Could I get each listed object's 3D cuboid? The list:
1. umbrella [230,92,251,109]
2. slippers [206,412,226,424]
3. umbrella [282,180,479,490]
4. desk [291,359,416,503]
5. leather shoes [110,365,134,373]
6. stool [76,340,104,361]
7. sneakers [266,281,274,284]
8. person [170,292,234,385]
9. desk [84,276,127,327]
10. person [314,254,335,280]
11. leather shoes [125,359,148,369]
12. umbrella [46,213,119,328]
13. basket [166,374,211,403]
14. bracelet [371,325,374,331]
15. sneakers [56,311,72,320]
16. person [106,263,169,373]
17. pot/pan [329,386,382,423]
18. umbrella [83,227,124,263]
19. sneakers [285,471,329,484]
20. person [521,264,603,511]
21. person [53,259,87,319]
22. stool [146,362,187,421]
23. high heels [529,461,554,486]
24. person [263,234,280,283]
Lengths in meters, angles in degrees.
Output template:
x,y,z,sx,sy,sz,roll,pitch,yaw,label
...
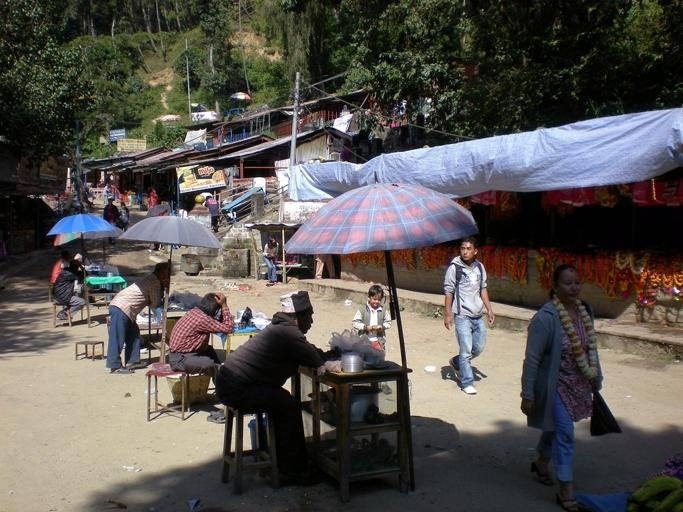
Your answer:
x,y,z,sx,sy,sz,roll,pitch,yaw,label
-7.681,-12.235,57.129,1.462,1.268,1.490,-1,6,-7,umbrella
-1.670,2.177,10.077,0.177,0.087,0.238,3,-1,7,slippers
0.566,0.313,8.989,2.188,2.370,2.137,-10,12,-30,umbrella
0.018,1.972,9.014,0.938,1.358,2.013,-1,-2,-19,desk
-3.521,1.830,11.911,0.279,0.108,0.157,-1,-2,-9,leather shoes
-4.431,1.613,13.146,0.466,0.372,0.480,1,4,1,stool
-2.127,0.783,22.286,0.177,0.083,0.278,-2,3,-14,sneakers
-1.978,1.288,10.478,0.855,1.517,0.792,2,1,-16,person
-5.148,0.889,16.187,1.092,0.988,1.181,-5,-6,-1,desk
-0.482,0.328,21.850,0.627,0.830,0.330,0,-8,-7,person
-3.357,1.789,12.184,0.350,0.165,0.118,-13,13,-20,leather shoes
-5.327,-0.099,15.511,1.323,1.684,1.390,0,4,29,umbrella
-2.180,1.868,10.462,0.463,0.313,0.483,-2,-4,23,basket
0.455,1.042,10.764,0.053,0.053,0.052,-2,5,-15,bracelet
-5.837,1.243,15.649,0.428,0.206,0.159,-5,-2,26,sneakers
-3.280,0.975,11.943,1.026,1.741,0.576,-2,4,-16,person
0.182,1.631,8.176,0.420,0.200,0.431,0,4,5,pot/pan
-7.007,-0.276,21.905,1.238,1.286,1.229,-1,-1,-37,umbrella
-0.436,2.508,8.455,0.383,0.170,0.168,-3,6,1,sneakers
2.370,1.382,7.987,0.873,2.565,0.558,-1,4,3,person
-5.661,0.627,15.666,0.632,1.354,0.573,3,4,-21,person
-2.402,1.888,10.368,0.710,0.734,0.712,-2,4,-44,stool
2.217,2.434,8.331,0.119,0.132,0.332,-1,10,-26,high heels
-2.130,0.122,22.477,0.418,1.384,0.745,-2,3,-5,person
